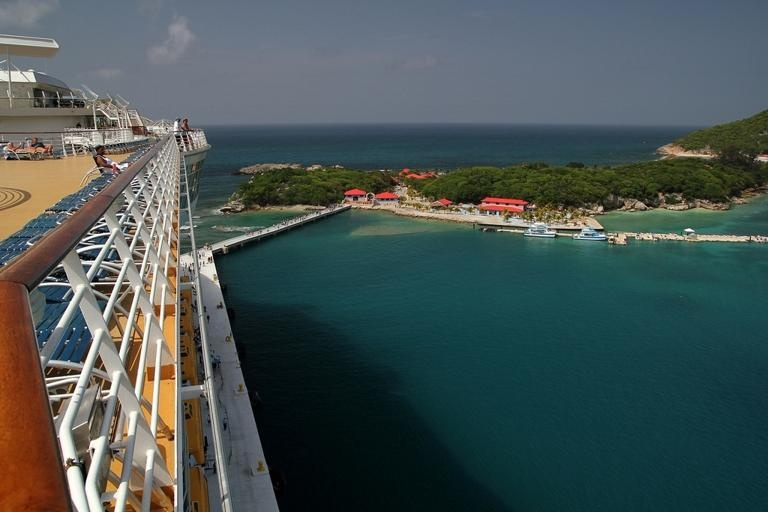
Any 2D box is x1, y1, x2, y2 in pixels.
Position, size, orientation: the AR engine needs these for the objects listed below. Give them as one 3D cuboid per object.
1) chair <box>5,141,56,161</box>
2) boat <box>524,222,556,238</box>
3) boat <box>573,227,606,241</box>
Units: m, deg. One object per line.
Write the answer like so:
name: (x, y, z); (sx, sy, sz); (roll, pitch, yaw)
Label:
chair: (-10.651, -3.107, 12.277); (1.410, 0.404, 0.888); (-1, 15, -5)
boat: (16.017, -2.442, 41.193); (2.712, 0.700, 1.536); (-2, 7, 0)
boat: (20.708, -2.116, 40.484); (2.994, 0.839, 1.537); (1, 8, 9)
